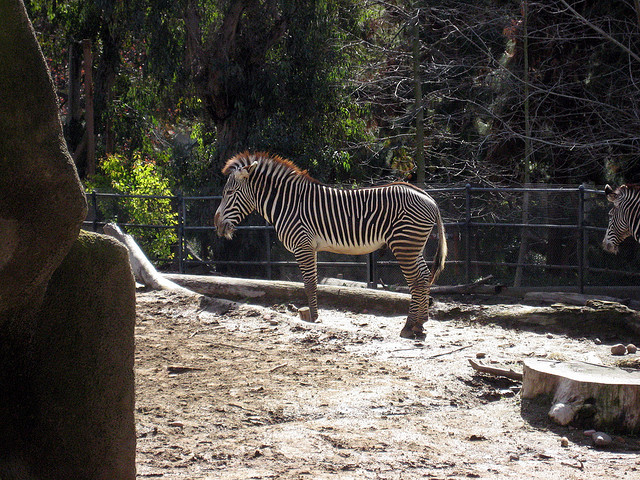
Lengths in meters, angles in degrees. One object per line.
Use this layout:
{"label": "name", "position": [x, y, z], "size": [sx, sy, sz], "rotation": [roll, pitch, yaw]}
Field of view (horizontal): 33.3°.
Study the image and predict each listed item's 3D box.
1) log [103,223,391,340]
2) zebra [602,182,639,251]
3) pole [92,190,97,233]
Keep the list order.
{"label": "log", "position": [-1.157, 0.672, 17.143], "size": [4.918, 3.308, 1.142], "rotation": [3, -6, -9]}
{"label": "zebra", "position": [4.874, -0.328, 17.252], "size": [0.594, 1.060, 0.484], "rotation": [4, 3, 27]}
{"label": "pole", "position": [-4.504, -0.560, 21.443], "size": [0.112, 0.786, 0.352], "rotation": [2, 2, -12]}
